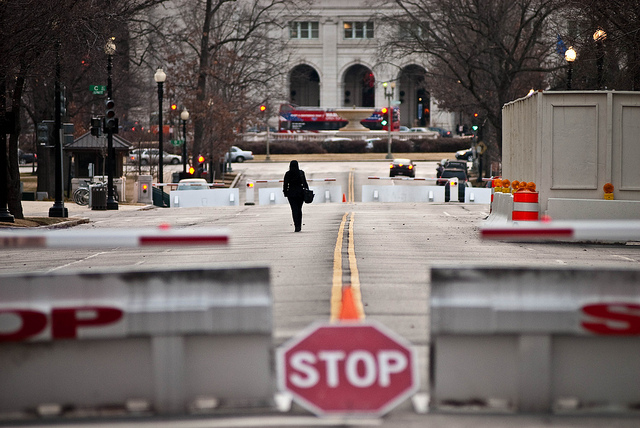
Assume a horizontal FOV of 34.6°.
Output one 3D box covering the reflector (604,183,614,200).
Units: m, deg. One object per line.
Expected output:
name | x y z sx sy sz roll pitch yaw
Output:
reflector | 7.430 -0.575 26.421 0.263 0.432 0.139 -1 13 2

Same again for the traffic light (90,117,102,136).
traffic light | -8.758 -3.335 40.115 0.395 0.861 1.422 -5 14 -15

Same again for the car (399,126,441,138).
car | 10.629 -8.306 110.336 4.099 1.466 1.921 -1 6 21

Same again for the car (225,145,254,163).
car | -7.017 -5.030 88.885 2.384 0.916 1.188 2 5 5

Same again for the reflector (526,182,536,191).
reflector | 5.468 -0.731 26.706 0.200 0.241 0.601 2 15 17

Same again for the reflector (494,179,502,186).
reflector | 5.340 -0.927 30.873 0.133 0.185 0.179 -8 -21 12

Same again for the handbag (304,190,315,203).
handbag | -0.321 -0.480 28.146 0.313 0.413 0.285 1 -7 -2

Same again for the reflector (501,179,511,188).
reflector | 5.481 -0.906 30.329 0.244 0.210 0.438 0 14 9

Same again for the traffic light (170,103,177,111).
traffic light | -7.410 -5.372 51.816 0.371 0.391 0.088 -4 9 -31

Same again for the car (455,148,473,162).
car | 12.736 -5.233 91.388 1.700 0.889 1.092 3 0 -17

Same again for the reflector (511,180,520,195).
reflector | 5.202 -0.716 27.536 0.132 0.348 0.339 19 15 14

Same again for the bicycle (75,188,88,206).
bicycle | -10.382 -0.732 44.671 0.518 0.604 0.798 -5 14 -13

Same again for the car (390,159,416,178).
car | 5.095 -2.784 63.955 1.408 0.986 2.669 1 6 7

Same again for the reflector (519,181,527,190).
reflector | 5.252 -0.715 26.663 0.171 0.100 0.211 -9 12 7

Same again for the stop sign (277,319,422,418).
stop sign | 0.371 2.087 13.529 1.290 0.982 0.192 -1 1 2

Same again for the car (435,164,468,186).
car | 7.411 -1.937 57.764 1.289 1.205 2.737 0 9 4
